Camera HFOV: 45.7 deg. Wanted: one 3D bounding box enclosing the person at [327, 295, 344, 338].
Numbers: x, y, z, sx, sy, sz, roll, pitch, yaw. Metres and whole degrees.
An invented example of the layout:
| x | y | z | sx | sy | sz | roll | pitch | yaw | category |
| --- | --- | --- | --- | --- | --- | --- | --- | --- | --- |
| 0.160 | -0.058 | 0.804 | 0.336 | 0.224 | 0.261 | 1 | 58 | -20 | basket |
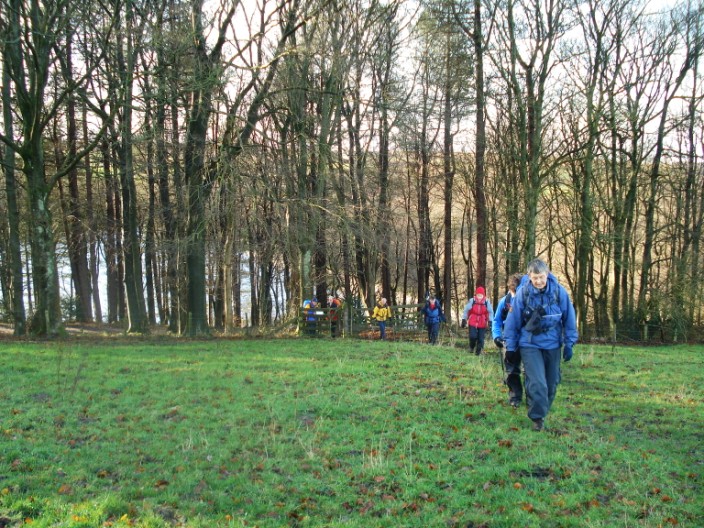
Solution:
| x | y | z | sx | sy | sz | roll | pitch | yaw | category |
| --- | --- | --- | --- | --- | --- | --- | --- | --- | --- |
| -0.600 | 2.106 | 33.339 | 0.568 | 1.666 | 2.007 | -1 | -4 | -2 | person |

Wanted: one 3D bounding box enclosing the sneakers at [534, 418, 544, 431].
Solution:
| x | y | z | sx | sy | sz | roll | pitch | yaw | category |
| --- | --- | --- | --- | --- | --- | --- | --- | --- | --- |
| 4.633 | 3.974 | 20.713 | 0.140 | 0.164 | 0.334 | 1 | 5 | 15 | sneakers |

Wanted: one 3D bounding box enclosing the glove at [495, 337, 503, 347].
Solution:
| x | y | z | sx | sy | sz | roll | pitch | yaw | category |
| --- | --- | --- | --- | --- | --- | --- | --- | --- | --- |
| 3.769 | 2.004 | 21.356 | 0.179 | 0.289 | 0.094 | -13 | -17 | 18 | glove |

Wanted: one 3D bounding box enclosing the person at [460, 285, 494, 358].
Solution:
| x | y | z | sx | sy | sz | roll | pitch | yaw | category |
| --- | --- | --- | --- | --- | --- | --- | --- | --- | --- |
| 4.213 | 1.885 | 27.954 | 0.867 | 2.533 | 0.691 | 5 | 22 | 14 | person |

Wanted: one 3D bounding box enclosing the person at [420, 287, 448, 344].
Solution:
| x | y | z | sx | sy | sz | roll | pitch | yaw | category |
| --- | --- | --- | --- | --- | --- | --- | --- | --- | --- |
| 2.940 | 1.942 | 29.685 | 0.683 | 2.036 | 0.706 | 8 | 27 | 20 | person |

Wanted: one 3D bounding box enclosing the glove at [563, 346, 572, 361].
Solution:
| x | y | z | sx | sy | sz | roll | pitch | yaw | category |
| --- | --- | --- | --- | --- | --- | --- | --- | --- | --- |
| 5.458 | 2.253 | 21.070 | 0.237 | 0.376 | 0.117 | -1 | -5 | 27 | glove |

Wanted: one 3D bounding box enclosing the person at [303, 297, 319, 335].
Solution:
| x | y | z | sx | sy | sz | roll | pitch | yaw | category |
| --- | --- | --- | --- | --- | --- | --- | --- | --- | --- |
| -1.594 | 2.057 | 32.719 | 0.597 | 1.388 | 0.579 | -1 | -4 | -3 | person |

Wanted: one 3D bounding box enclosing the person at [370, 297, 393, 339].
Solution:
| x | y | z | sx | sy | sz | roll | pitch | yaw | category |
| --- | --- | --- | --- | --- | --- | --- | --- | --- | --- |
| 1.199 | 2.110 | 32.646 | 0.736 | 1.588 | 1.368 | -1 | -4 | 1 | person |
